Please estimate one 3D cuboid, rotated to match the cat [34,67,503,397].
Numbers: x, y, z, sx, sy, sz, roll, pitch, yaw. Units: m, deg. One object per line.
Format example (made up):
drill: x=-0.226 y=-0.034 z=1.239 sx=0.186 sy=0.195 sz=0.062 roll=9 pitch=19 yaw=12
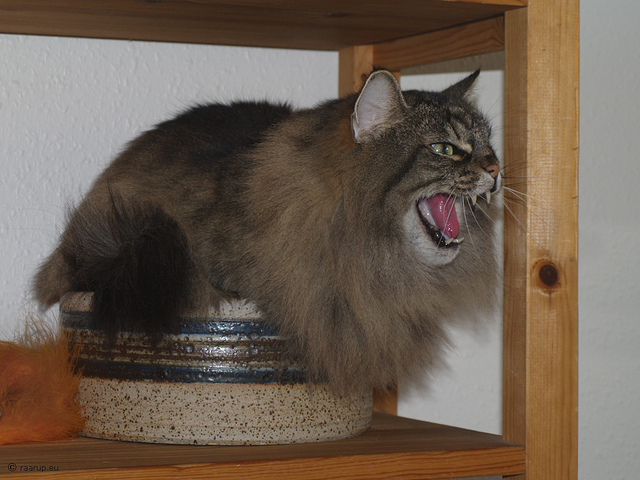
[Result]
cat: x=-0.087 y=-0.037 z=1.533 sx=0.712 sy=0.445 sz=0.485 roll=15 pitch=18 yaw=23
